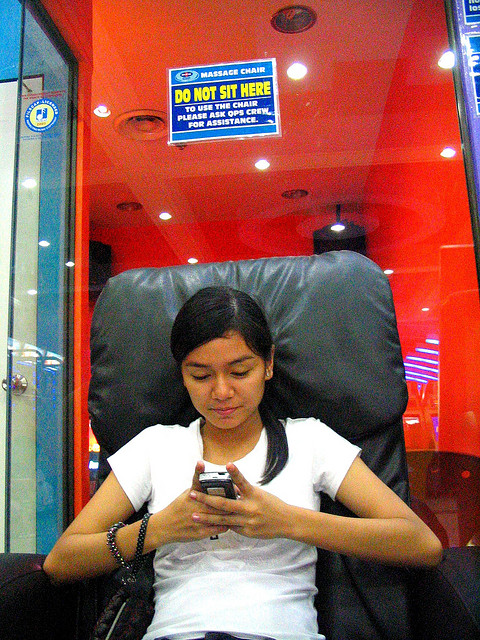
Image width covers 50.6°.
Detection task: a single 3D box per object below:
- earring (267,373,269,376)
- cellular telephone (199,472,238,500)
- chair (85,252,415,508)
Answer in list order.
[{"bbox_3d":[0.057,0.115,1.073,0.005,0.009,0.008,-2,83,4],"label":"earring"},{"bbox_3d":[-0.036,0.271,0.859,0.053,0.056,0.016,2,41,13],"label":"cellular telephone"},{"bbox_3d":[0.018,0.192,1.400,0.616,0.654,0.657,-4,69,2],"label":"chair"}]
